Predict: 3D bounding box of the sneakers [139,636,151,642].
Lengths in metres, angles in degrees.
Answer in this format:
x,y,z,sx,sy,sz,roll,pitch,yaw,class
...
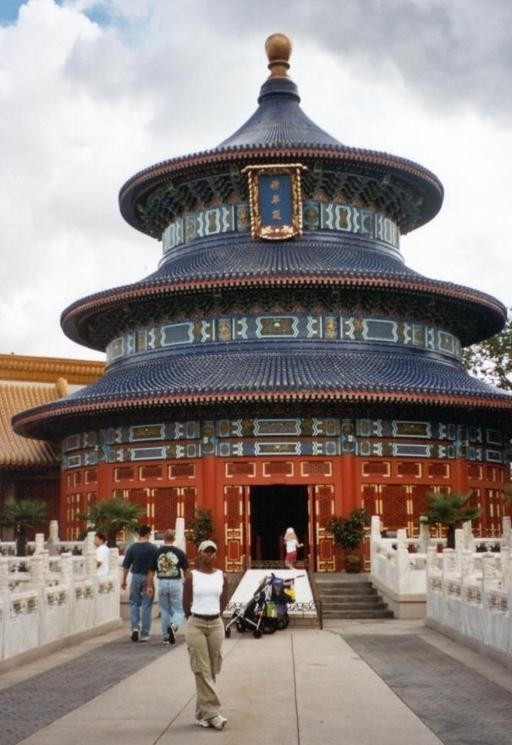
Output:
x,y,z,sx,sy,sz,roll,pitch,yaw,class
-1.900,4.519,14.289,0.076,0.088,0.208,1,-18,2,sneakers

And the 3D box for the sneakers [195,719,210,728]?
x,y,z,sx,sy,sz,roll,pitch,yaw,class
-0.473,3.059,7.348,0.064,0.068,0.153,11,-6,-37,sneakers

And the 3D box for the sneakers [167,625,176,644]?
x,y,z,sx,sy,sz,roll,pitch,yaw,class
-1.377,4.285,13.719,0.112,0.319,0.138,-6,-7,6,sneakers

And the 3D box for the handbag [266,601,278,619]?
x,y,z,sx,sy,sz,roll,pitch,yaw,class
0.283,4.508,15.981,0.193,0.285,0.289,0,-10,1,handbag

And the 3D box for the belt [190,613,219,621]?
x,y,z,sx,sy,sz,roll,pitch,yaw,class
-0.470,2.284,7.880,0.248,0.066,0.127,2,-10,-11,belt

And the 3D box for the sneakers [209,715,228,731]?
x,y,z,sx,sy,sz,roll,pitch,yaw,class
-0.326,3.015,7.249,0.133,0.090,0.067,1,-29,44,sneakers

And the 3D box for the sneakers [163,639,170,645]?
x,y,z,sx,sy,sz,roll,pitch,yaw,class
-1.487,4.401,13.799,0.048,0.061,0.139,1,-1,1,sneakers

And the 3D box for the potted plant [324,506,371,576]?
x,y,z,sx,sy,sz,roll,pitch,yaw,class
2.616,4.775,24.026,1.080,1.746,1.330,-1,-10,8,potted plant

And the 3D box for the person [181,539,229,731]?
x,y,z,sx,sy,sz,roll,pitch,yaw,class
-0.477,2.357,7.748,0.389,1.559,0.928,1,-10,-5,person

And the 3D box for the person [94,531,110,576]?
x,y,z,sx,sy,sz,roll,pitch,yaw,class
-3.004,3.532,16.411,0.289,0.814,1.257,2,-10,-11,person
